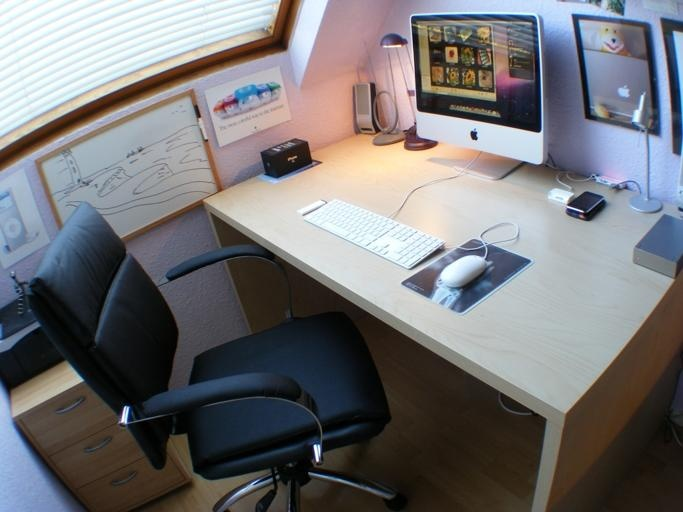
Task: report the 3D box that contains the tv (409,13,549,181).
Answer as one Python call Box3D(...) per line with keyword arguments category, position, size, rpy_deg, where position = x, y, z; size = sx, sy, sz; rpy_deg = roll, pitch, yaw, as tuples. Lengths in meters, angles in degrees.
Box3D(category="tv", position=(0.491, -0.563, 1.807), size=(0.171, 0.515, 0.517), rpy_deg=(-34, 42, -29))

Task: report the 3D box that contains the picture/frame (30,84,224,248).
Box3D(category="picture/frame", position=(-0.816, -0.352, 1.922), size=(0.579, 0.407, 0.024), rpy_deg=(-28, 35, -24))

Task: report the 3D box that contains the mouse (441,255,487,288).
Box3D(category="mouse", position=(0.340, 0.042, 1.457), size=(0.122, 0.040, 0.071), rpy_deg=(-34, 46, -20))
